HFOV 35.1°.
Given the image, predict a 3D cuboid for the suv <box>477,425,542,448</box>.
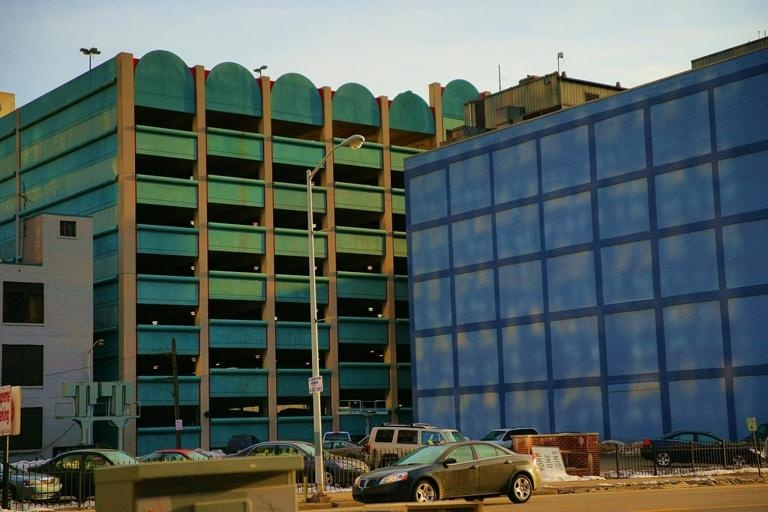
[{"bbox_3d":[9.398,12.941,88.019,3.757,1.590,2.047,3,-8,-15],"label":"suv"}]
